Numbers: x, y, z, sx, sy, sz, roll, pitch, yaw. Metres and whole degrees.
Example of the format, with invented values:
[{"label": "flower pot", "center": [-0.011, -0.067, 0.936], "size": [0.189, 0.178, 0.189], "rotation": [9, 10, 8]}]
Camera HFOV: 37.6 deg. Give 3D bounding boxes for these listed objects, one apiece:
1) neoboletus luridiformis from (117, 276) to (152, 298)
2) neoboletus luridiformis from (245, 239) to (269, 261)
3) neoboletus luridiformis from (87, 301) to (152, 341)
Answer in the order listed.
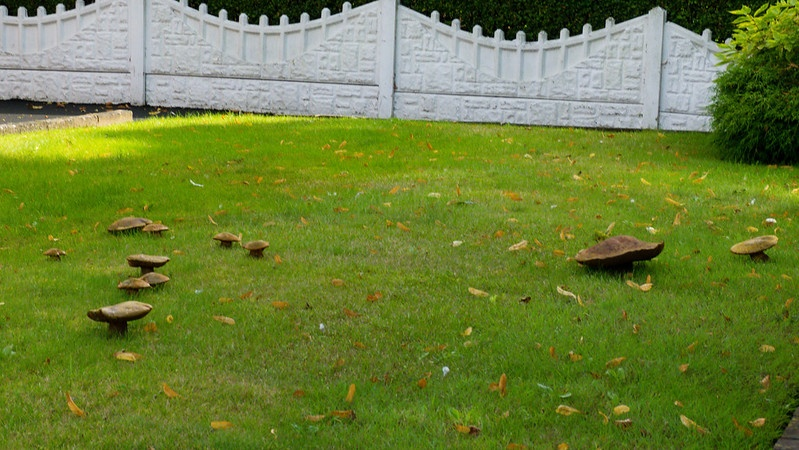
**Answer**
[{"label": "neoboletus luridiformis", "center": [-4.728, 1.067, 20.612], "size": [0.364, 0.218, 0.370], "rotation": [-2, 2, -25]}, {"label": "neoboletus luridiformis", "center": [-2.644, 0.467, 21.558], "size": [0.342, 0.209, 0.355], "rotation": [-1, 0, 6]}, {"label": "neoboletus luridiformis", "center": [-4.802, 1.591, 20.006], "size": [0.690, 0.403, 0.748], "rotation": [-1, 5, -9]}]
